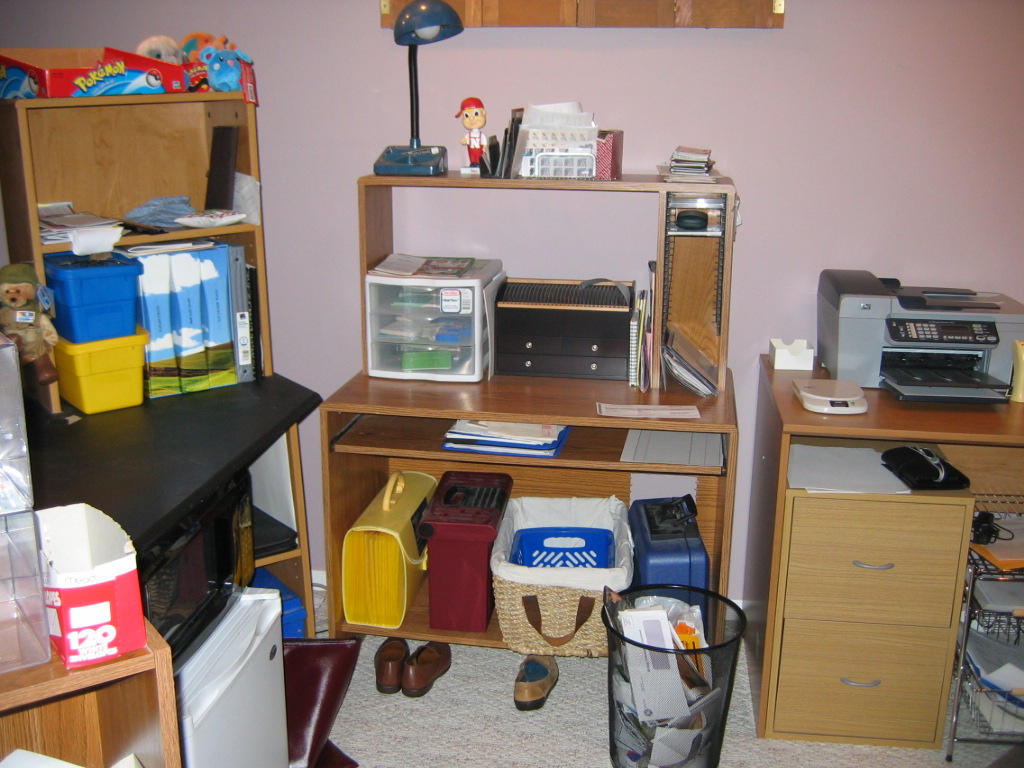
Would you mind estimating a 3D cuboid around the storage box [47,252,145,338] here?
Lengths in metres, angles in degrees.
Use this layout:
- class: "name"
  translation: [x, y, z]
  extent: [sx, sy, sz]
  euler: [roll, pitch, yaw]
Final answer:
- class: "storage box"
  translation: [-1.211, -0.239, 2.511]
  extent: [0.242, 0.210, 0.269]
  euler: [-15, 12, -39]

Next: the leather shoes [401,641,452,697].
- class: "leather shoes"
  translation: [-0.291, 0.938, 2.888]
  extent: [0.136, 0.107, 0.280]
  euler: [6, 14, 15]

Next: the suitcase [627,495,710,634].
- class: "suitcase"
  translation: [0.525, 0.576, 2.915]
  extent: [0.201, 0.428, 0.429]
  euler: [-5, 32, 1]

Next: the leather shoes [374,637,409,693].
- class: "leather shoes"
  translation: [-0.416, 0.936, 2.844]
  extent: [0.074, 0.075, 0.191]
  euler: [0, 16, -4]

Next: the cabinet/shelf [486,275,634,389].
- class: "cabinet/shelf"
  translation: [0.229, -0.152, 2.948]
  extent: [0.519, 0.316, 0.288]
  euler: [3, 4, 33]

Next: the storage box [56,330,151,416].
- class: "storage box"
  translation: [-1.178, -0.040, 2.459]
  extent: [0.198, 0.182, 0.272]
  euler: [-9, 18, -39]

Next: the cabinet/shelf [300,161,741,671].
- class: "cabinet/shelf"
  translation: [0.056, 0.096, 2.792]
  extent: [1.572, 1.822, 0.941]
  euler: [2, 15, 8]

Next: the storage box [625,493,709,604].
- class: "storage box"
  translation: [0.530, 0.580, 2.920]
  extent: [0.219, 0.386, 0.389]
  euler: [-4, 22, 3]

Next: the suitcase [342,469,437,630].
- class: "suitcase"
  translation: [-0.431, 0.562, 3.073]
  extent: [0.308, 0.462, 0.583]
  euler: [2, 11, 5]

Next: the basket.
- class: "basket"
  translation: [0.170, 0.692, 2.919]
  extent: [0.412, 0.274, 0.561]
  euler: [-2, 12, 1]

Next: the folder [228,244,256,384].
- class: "folder"
  translation: [-0.847, -0.210, 2.663]
  extent: [0.076, 0.314, 0.303]
  euler: [0, 4, -8]

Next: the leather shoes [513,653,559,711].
- class: "leather shoes"
  translation: [0.076, 0.974, 2.837]
  extent: [0.141, 0.080, 0.260]
  euler: [0, 15, 14]

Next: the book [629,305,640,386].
- class: "book"
  translation: [0.397, -0.113, 2.764]
  extent: [0.046, 0.187, 0.142]
  euler: [-2, 12, 6]

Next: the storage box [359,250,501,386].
- class: "storage box"
  translation: [-0.280, -0.205, 2.937]
  extent: [0.407, 0.334, 0.335]
  euler: [3, 10, 12]

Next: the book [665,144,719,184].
- class: "book"
  translation: [0.551, -0.690, 2.668]
  extent: [0.163, 0.094, 0.180]
  euler: [2, 18, 10]
